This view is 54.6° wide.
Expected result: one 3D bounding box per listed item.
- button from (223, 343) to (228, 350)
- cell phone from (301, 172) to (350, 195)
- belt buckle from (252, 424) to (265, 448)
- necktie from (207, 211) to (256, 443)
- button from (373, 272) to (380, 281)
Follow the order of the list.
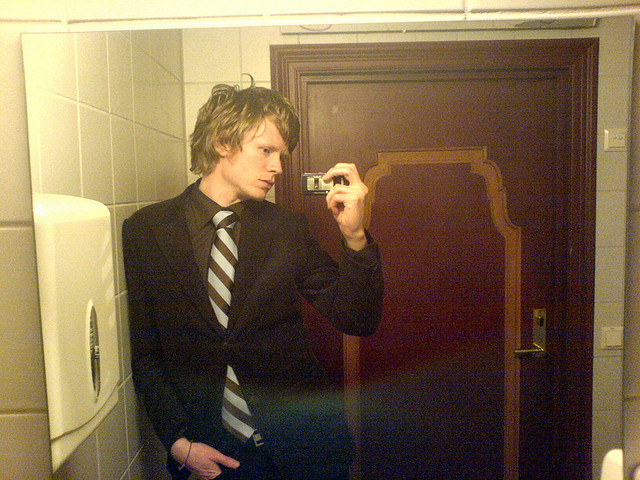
[{"bbox_3d":[-0.202,0.229,1.337,0.015,0.009,0.012,3,-4,-9],"label":"button"},{"bbox_3d":[0.010,-0.118,1.313,0.096,0.046,0.014,2,5,8],"label":"cell phone"},{"bbox_3d":[-0.132,0.429,1.348,0.041,0.036,0.015,-6,-9,-6],"label":"belt buckle"},{"bbox_3d":[-0.178,0.189,1.336,0.145,0.429,0.077,-2,6,-4],"label":"necktie"},{"bbox_3d":[0.122,0.079,1.338,0.022,0.012,0.004,1,-2,-8],"label":"button"}]
